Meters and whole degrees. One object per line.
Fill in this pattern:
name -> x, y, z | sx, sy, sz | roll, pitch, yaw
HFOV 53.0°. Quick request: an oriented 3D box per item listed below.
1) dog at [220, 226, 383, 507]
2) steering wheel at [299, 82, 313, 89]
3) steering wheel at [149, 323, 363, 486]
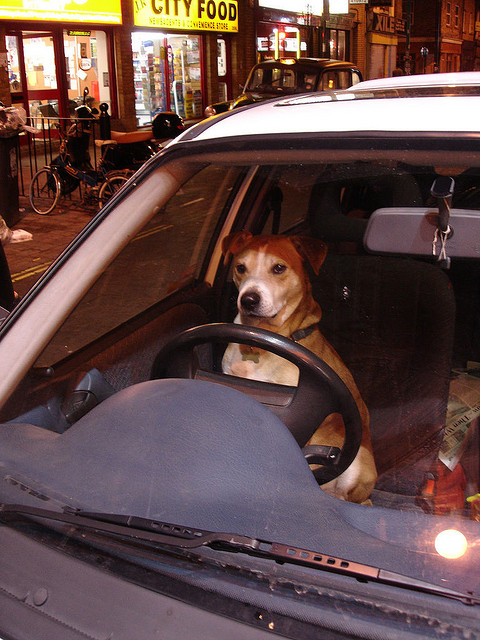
dog -> 0.232, 0.209, 2.031 | 0.724, 1.141, 0.769 | 3, 8, -1
steering wheel -> 1.783, -6.464, 13.112 | 0.338, 0.161, 0.210 | -1, -11, 1
steering wheel -> 0.021, 0.220, 1.213 | 0.603, 0.442, 0.089 | 10, 26, 26
